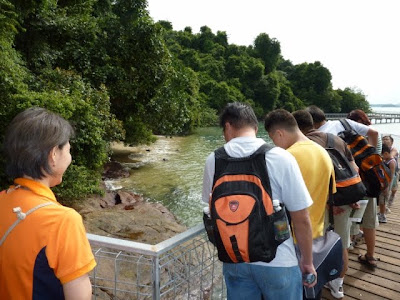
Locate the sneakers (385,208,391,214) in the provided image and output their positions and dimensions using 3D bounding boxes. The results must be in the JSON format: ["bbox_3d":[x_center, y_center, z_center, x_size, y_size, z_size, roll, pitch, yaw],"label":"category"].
[{"bbox_3d":[4.178,1.345,6.847,0.064,0.088,0.202,-23,0,34],"label":"sneakers"}]

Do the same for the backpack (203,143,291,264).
[{"bbox_3d":[0.405,0.463,2.692,0.738,1.019,0.369,0,4,-1],"label":"backpack"}]

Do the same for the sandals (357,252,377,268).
[{"bbox_3d":[2.583,1.695,4.774,0.134,0.109,0.267,-8,8,-17],"label":"sandals"}]
